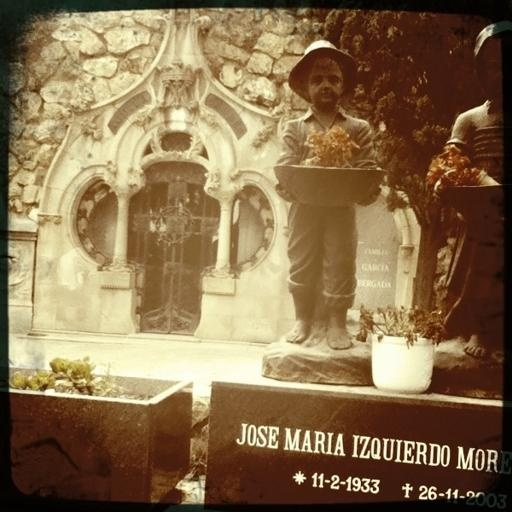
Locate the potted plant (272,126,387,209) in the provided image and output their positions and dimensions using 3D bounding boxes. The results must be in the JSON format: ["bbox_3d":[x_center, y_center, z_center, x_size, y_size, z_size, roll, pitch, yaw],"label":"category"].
[{"bbox_3d":[0.432,-0.503,5.345,0.463,0.300,0.530,1,-7,-1],"label":"potted plant"}]

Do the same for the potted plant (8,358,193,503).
[{"bbox_3d":[-0.939,1.056,5.170,1.070,0.833,0.352,0,-1,11],"label":"potted plant"}]
